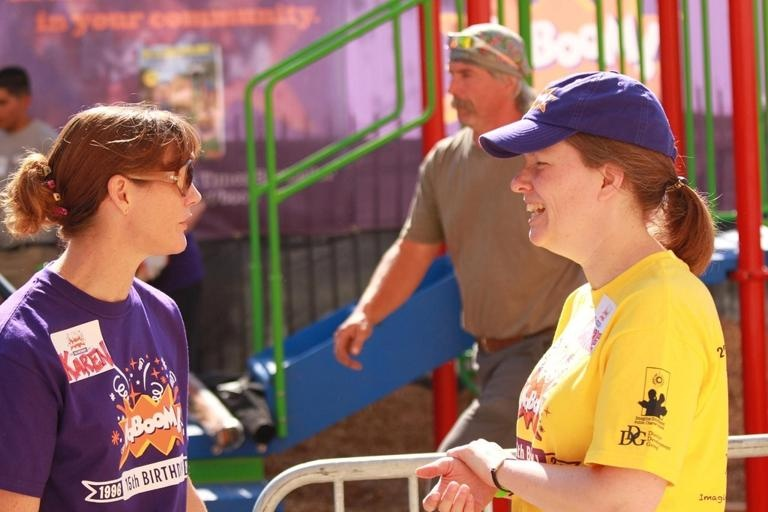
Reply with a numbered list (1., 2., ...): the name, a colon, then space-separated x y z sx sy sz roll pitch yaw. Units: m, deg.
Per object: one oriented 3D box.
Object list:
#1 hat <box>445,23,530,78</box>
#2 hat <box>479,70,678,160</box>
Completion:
1. hat: 0.613 -1.188 8.328 0.467 0.354 0.572 -5 5 -39
2. hat: 0.926 -0.641 6.779 0.875 0.438 0.583 7 -2 5
